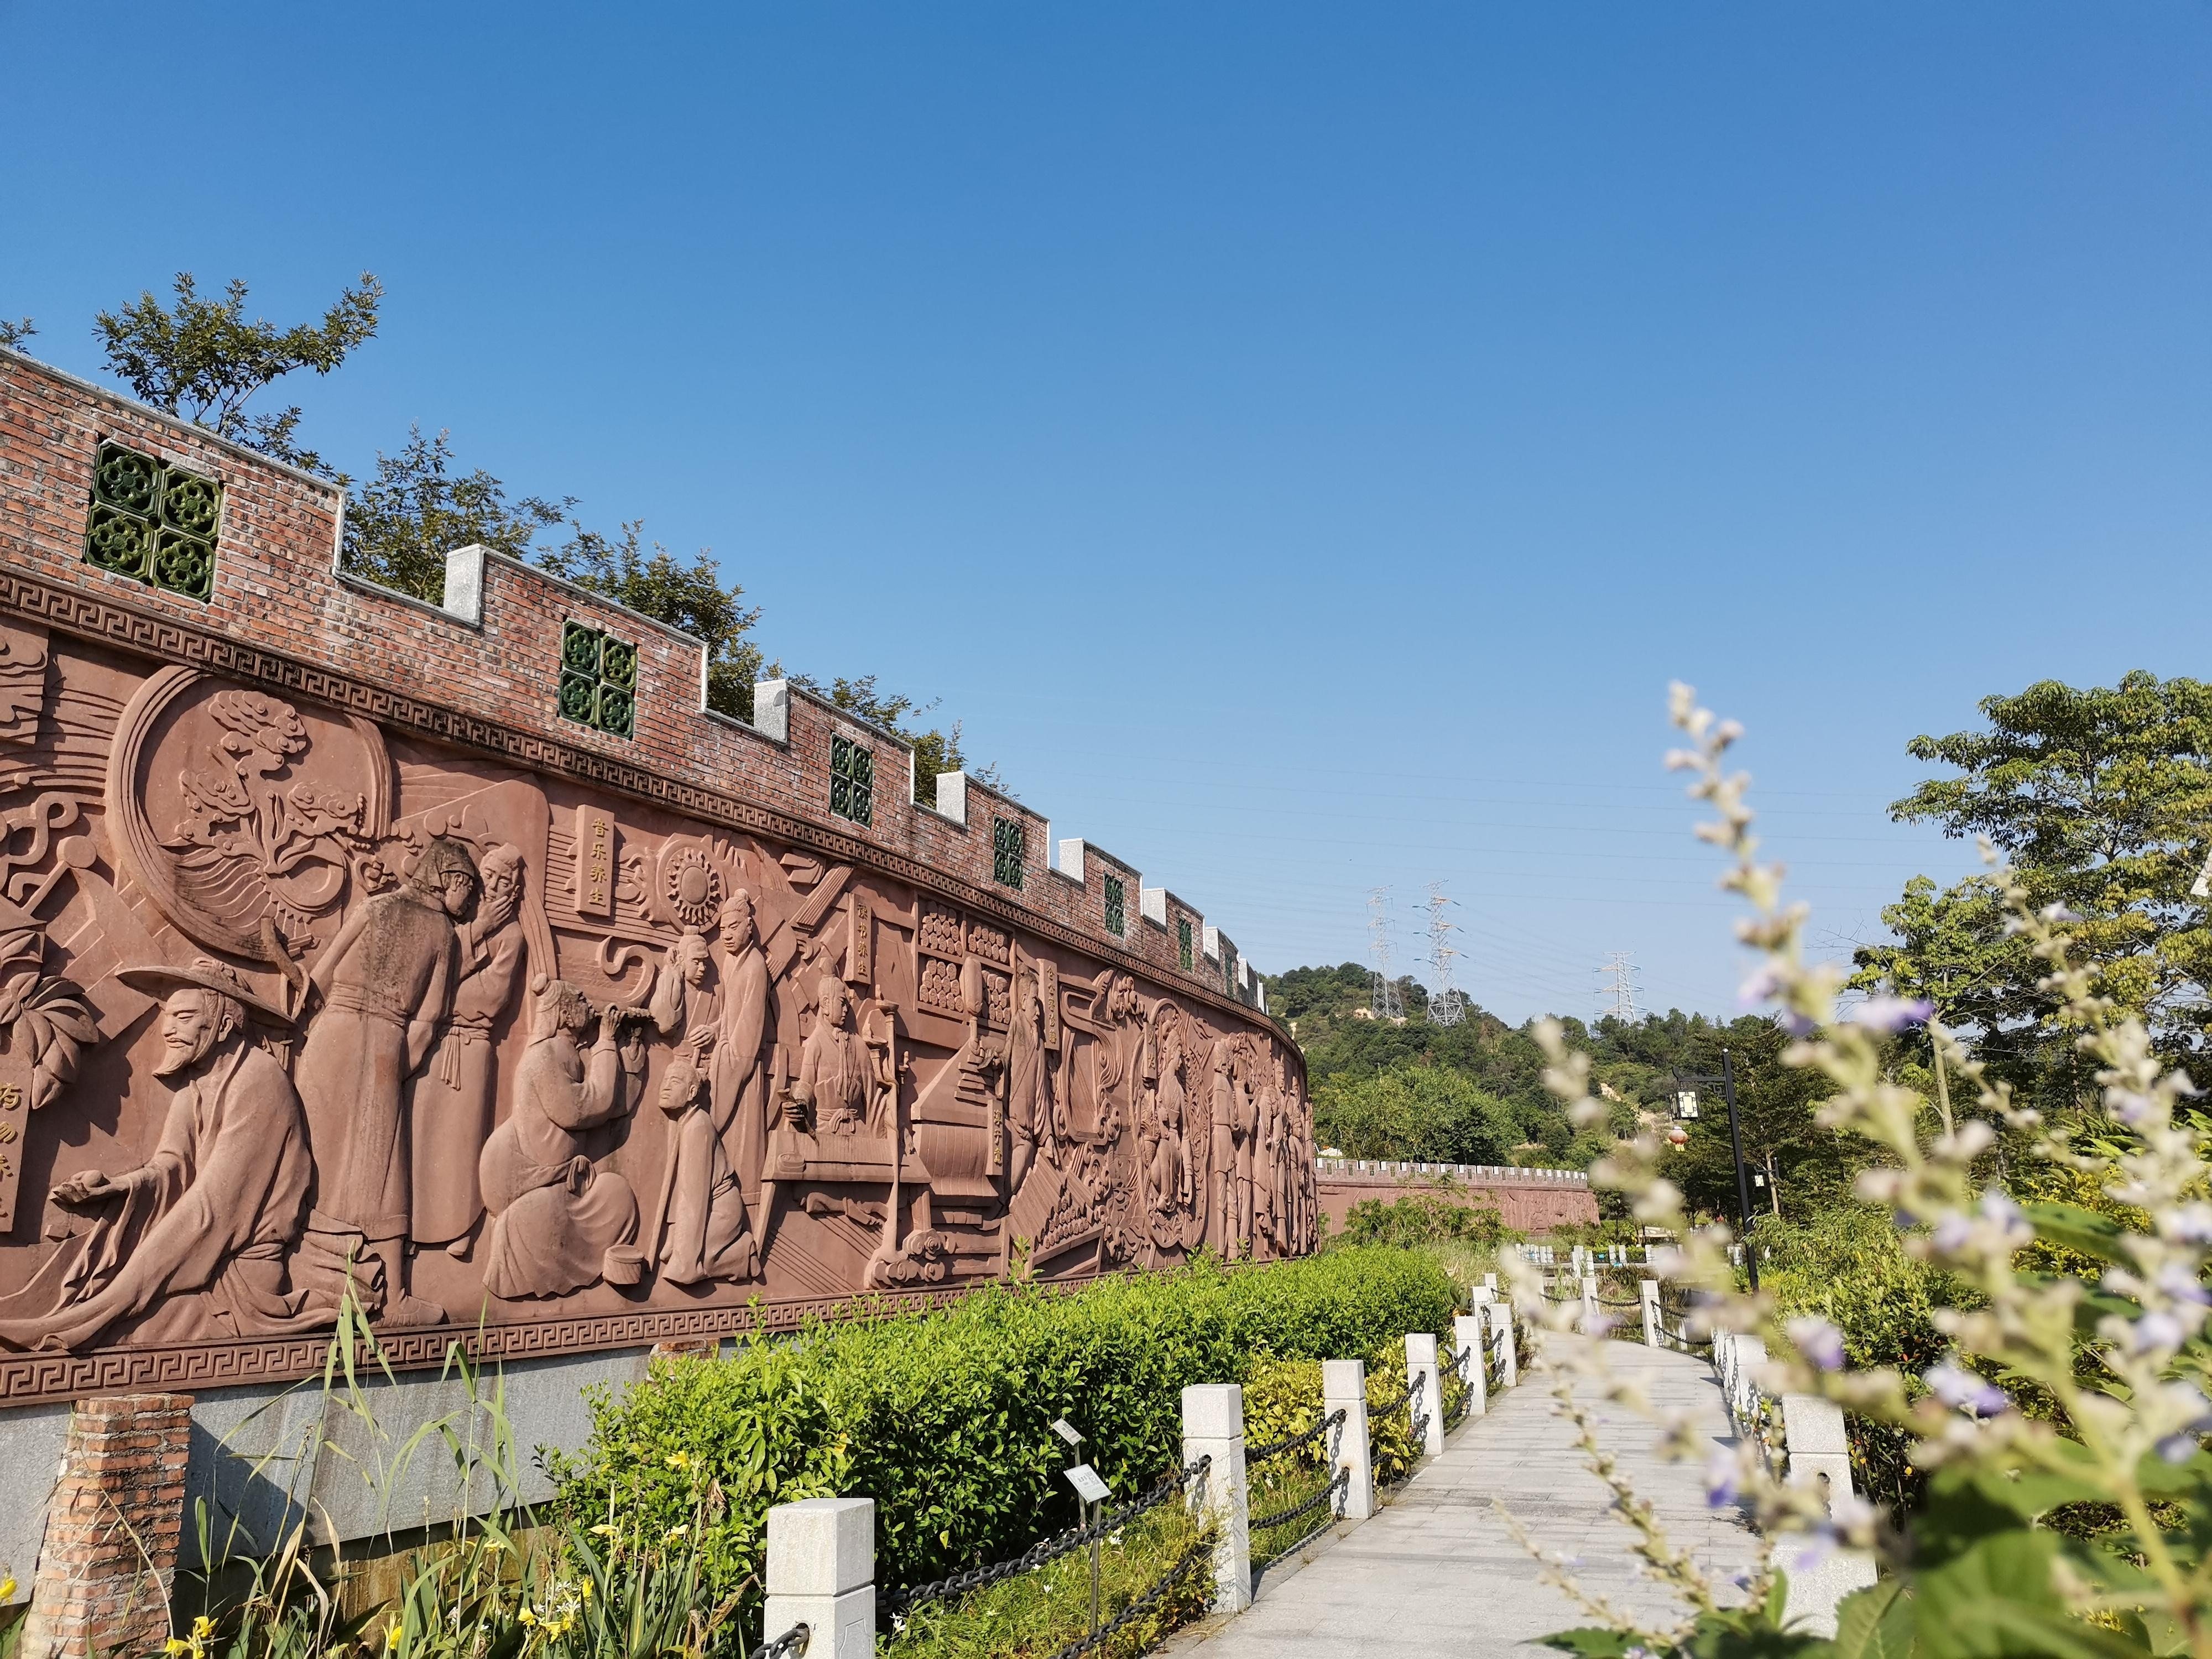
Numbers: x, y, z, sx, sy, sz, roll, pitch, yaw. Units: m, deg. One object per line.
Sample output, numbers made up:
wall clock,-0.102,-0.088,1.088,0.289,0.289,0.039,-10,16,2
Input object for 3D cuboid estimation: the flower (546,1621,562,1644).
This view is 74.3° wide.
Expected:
flower,-1.984,2.890,5.259,0.072,0.076,0.028,25,-12,-40

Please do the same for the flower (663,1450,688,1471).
flower,-1.850,2.735,6.305,0.072,0.074,0.110,7,-18,-31

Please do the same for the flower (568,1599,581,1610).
flower,-1.980,2.892,5.439,0.059,0.016,0.058,9,-10,-24

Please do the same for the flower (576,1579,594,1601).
flower,-1.975,2.872,5.501,0.027,0.073,0.169,4,-17,-23

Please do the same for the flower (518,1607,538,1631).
flower,-2.101,2.868,5.307,0.061,0.082,0.125,5,-17,-26

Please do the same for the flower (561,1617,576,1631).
flower,-1.954,2.874,5.297,0.020,0.050,0.044,29,-30,-20
